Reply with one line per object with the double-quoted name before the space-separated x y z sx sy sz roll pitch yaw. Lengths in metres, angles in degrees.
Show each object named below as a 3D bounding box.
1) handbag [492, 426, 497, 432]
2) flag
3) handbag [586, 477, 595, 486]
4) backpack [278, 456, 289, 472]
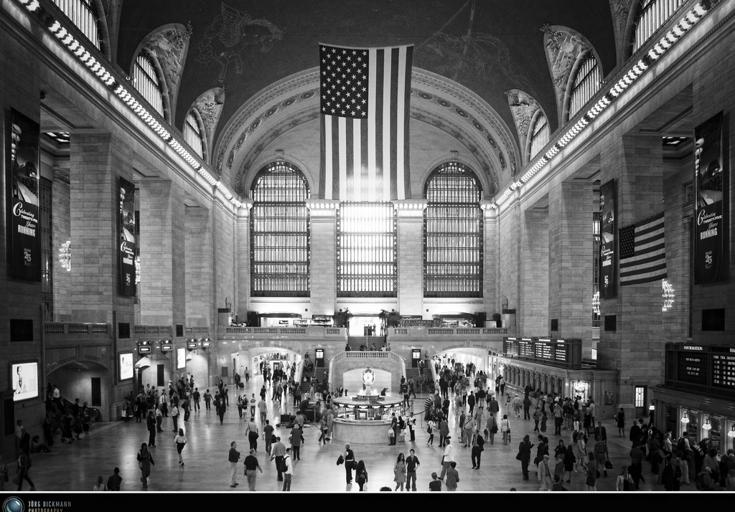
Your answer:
"handbag" 5.667 7.785 30.942 0.238 0.273 0.264 11 -18 -43
"flag" -0.120 -7.826 40.526 5.216 8.726 4.418 -1 -11 2
"handbag" 7.810 7.868 23.956 0.264 0.264 0.287 -6 -18 37
"backpack" -3.076 7.507 24.806 0.284 0.562 0.988 3 -12 -14
